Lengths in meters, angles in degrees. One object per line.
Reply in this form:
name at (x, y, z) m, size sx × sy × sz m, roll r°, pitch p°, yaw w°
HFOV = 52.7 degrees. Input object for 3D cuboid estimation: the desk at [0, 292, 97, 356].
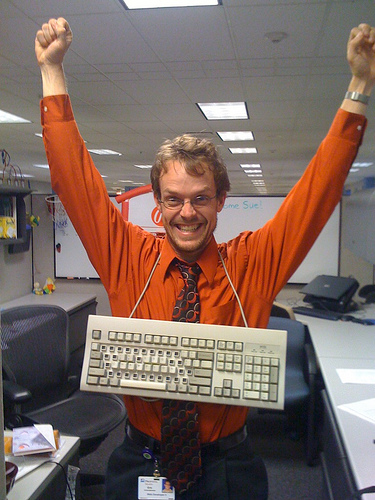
desk at (-1.148, 0.625, 3.155) m, size 0.586 × 0.502 × 0.717 m, roll 7°, pitch 3°, yaw 5°

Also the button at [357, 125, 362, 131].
button at (0.358, -0.252, 0.783) m, size 0.014 × 0.011 × 0.002 m, roll 4°, pitch 4°, yaw -38°

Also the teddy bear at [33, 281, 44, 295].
teddy bear at (-1.332, 0.341, 3.353) m, size 0.097 × 0.126 × 0.067 m, roll -6°, pitch -4°, yaw -45°

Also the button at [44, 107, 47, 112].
button at (-0.305, -0.301, 0.812) m, size 0.008 × 0.007 × 0.001 m, roll 8°, pitch 4°, yaw 30°
